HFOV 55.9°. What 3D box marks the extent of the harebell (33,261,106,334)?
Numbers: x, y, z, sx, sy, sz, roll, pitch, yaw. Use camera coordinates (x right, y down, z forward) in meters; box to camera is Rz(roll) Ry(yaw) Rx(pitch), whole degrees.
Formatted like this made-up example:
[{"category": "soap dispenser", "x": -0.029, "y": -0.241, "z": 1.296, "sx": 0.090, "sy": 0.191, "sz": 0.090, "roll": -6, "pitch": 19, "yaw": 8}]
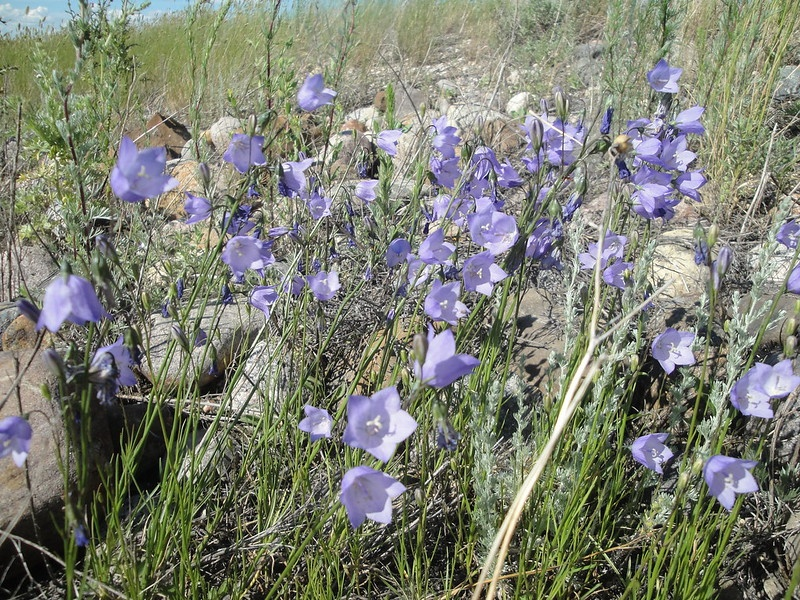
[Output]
[{"category": "harebell", "x": -1.390, "y": 0.005, "z": 3.158, "sx": 0.269, "sy": 0.265, "sz": 0.278, "roll": 2, "pitch": -13, "yaw": -40}]
